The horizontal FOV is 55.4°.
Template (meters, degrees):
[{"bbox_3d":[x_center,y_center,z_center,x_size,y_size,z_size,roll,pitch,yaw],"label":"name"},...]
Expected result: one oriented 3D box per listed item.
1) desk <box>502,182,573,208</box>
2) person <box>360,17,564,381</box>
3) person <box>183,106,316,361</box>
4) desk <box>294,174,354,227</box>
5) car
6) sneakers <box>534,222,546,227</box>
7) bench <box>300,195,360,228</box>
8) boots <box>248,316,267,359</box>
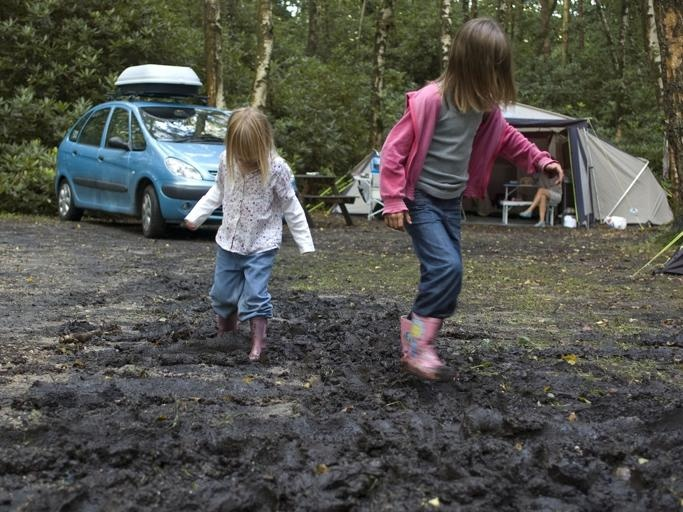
[{"bbox_3d":[5.075,-1.671,17.600,1.058,0.589,1.204,1,6,19],"label":"desk"},{"bbox_3d":[0.714,-0.354,3.881,1.010,2.031,0.414,-4,9,-21],"label":"person"},{"bbox_3d":[-0.557,-0.165,4.404,0.693,1.648,0.414,-2,9,-13],"label":"person"},{"bbox_3d":[-0.187,-1.306,14.551,1.386,0.687,0.896,14,7,17],"label":"desk"},{"bbox_3d":[-3.248,-1.343,10.845,2.206,1.797,3.673,0,0,-41],"label":"car"},{"bbox_3d":[4.479,-0.716,14.668,0.292,0.132,0.104,3,5,14],"label":"sneakers"},{"bbox_3d":[-0.104,-1.022,14.310,0.779,0.737,1.487,12,12,7],"label":"bench"},{"bbox_3d":[-0.575,0.531,4.423,0.115,0.271,0.277,-2,9,-9],"label":"boots"}]
